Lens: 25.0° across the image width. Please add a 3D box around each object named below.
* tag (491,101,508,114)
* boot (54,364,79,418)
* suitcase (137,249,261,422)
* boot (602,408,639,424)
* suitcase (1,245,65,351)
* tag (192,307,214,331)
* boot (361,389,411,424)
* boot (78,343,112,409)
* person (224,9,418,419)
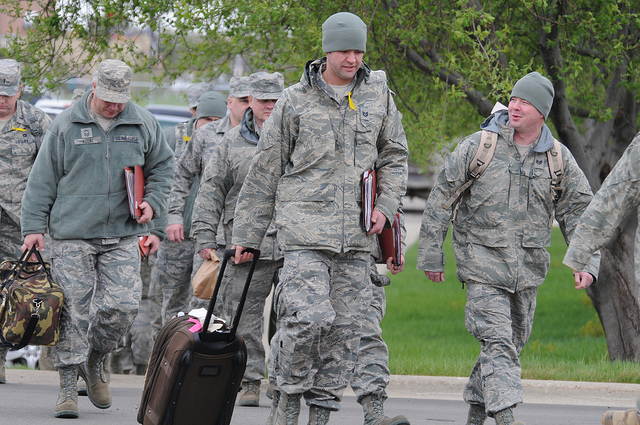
[{"bbox_3d":[1.786,-1.030,14.397,0.154,0.147,0.329,3,-3,4],"label":"tag"},{"bbox_3d":[-2.536,1.767,14.443,0.247,0.522,0.261,4,-4,-9],"label":"boot"},{"bbox_3d":[-1.128,1.137,13.380,1.008,1.649,0.491,4,-4,-6],"label":"suitcase"},{"bbox_3d":[2.792,1.861,13.263,0.241,0.077,0.153,-9,-11,38],"label":"boot"},{"bbox_3d":[-2.896,0.842,14.381,0.702,1.038,0.482,3,-4,4],"label":"suitcase"},{"bbox_3d":[-1.121,0.981,13.454,0.157,0.176,0.060,5,-20,2],"label":"tag"},{"bbox_3d":[0.606,1.841,13.733,0.469,0.330,0.157,1,-5,33],"label":"boot"},{"bbox_3d":[-2.301,1.657,14.657,0.350,0.649,0.222,4,-4,-7],"label":"boot"},{"bbox_3d":[0.023,0.038,13.539,1.561,3.783,0.648,4,-4,-3],"label":"person"}]
